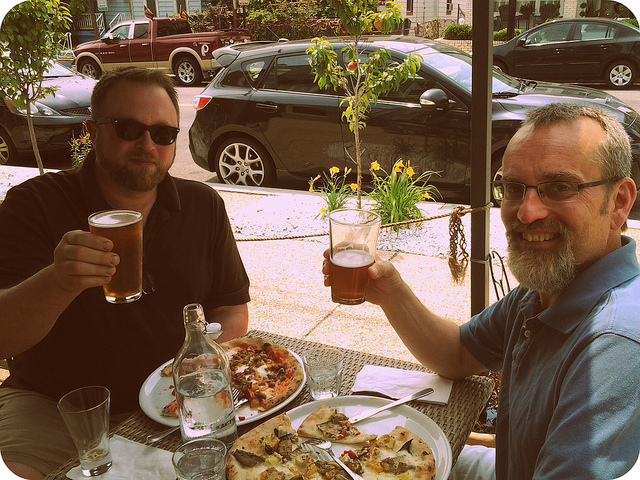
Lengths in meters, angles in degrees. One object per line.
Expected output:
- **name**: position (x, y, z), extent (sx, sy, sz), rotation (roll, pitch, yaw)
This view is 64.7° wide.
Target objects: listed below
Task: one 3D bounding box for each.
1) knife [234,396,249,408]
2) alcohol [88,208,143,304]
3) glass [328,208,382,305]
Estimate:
- **knife**: position (-0.330, 0.667, 2.091), extent (0.020, 0.005, 0.061), rotation (28, 36, 19)
- **alcohol**: position (-0.786, 0.050, 2.035), extent (0.200, 0.382, 0.178), rotation (-5, 20, -11)
- **glass**: position (0.128, 0.051, 2.151), extent (0.198, 0.407, 0.198), rotation (7, 15, 20)
